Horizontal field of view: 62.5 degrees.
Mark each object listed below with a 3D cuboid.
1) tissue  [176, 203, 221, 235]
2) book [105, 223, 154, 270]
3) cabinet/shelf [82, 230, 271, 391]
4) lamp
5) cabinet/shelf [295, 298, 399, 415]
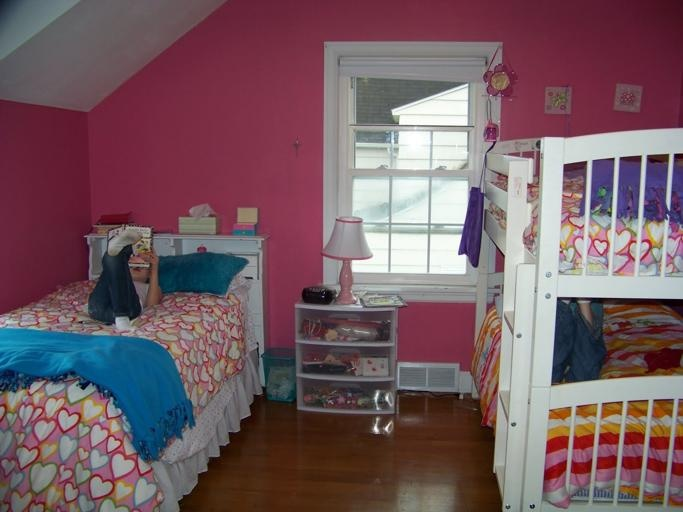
[{"bbox_3d":[-1.049,-0.262,4.129,0.287,0.209,0.145,-2,14,-14],"label":"tissue "},{"bbox_3d":[-1.271,-0.053,3.418,0.262,0.290,0.075,2,3,4],"label":"book"},{"bbox_3d":[-0.995,0.333,3.460,1.076,0.999,0.363,-1,3,1],"label":"cabinet/shelf"},{"bbox_3d":[0.021,0.032,3.948,0.322,0.584,0.300,-5,15,-27],"label":"lamp"},{"bbox_3d":[0.075,0.723,4.134,0.754,0.760,0.537,-1,3,9],"label":"cabinet/shelf"}]
